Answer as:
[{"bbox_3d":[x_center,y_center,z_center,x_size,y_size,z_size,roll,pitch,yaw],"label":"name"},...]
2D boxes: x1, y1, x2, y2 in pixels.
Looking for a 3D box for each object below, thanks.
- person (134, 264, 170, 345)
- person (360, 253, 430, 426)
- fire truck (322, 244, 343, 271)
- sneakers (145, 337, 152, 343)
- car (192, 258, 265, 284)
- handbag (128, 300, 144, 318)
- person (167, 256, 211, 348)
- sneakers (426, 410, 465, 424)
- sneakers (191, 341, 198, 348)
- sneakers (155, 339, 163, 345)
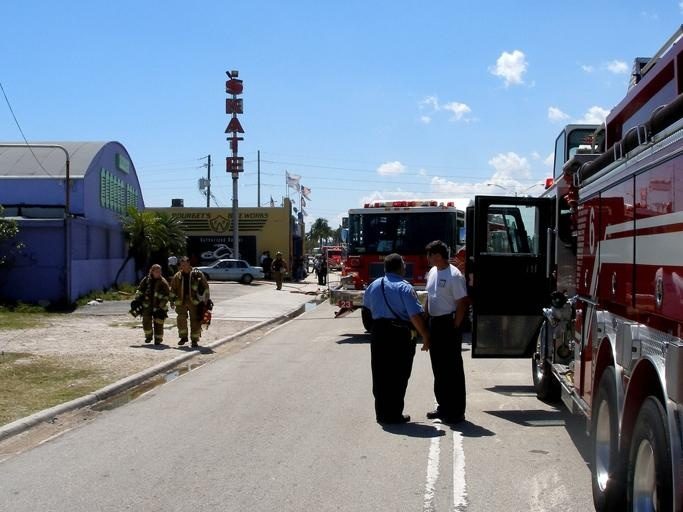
[{"bbox_3d":[-4.723,1.202,14.724,1.077,1.981,0.716,-2,-2,45],"label":"person"},{"bbox_3d":[0.680,1.083,7.693,0.746,2.201,0.354,-1,-1,6],"label":"person"},{"bbox_3d":[-0.885,0.295,64.350,2.042,2.315,3.698,1,8,3],"label":"fire truck"},{"bbox_3d":[-4.822,2.087,14.645,0.150,0.167,0.339,0,-2,-21],"label":"sneakers"},{"bbox_3d":[-7.728,1.077,40.775,4.095,1.573,1.886,5,-2,-2],"label":"car"},{"bbox_3d":[-5.173,1.295,14.791,0.323,0.522,0.138,5,6,32],"label":"handbag"},{"bbox_3d":[-3.725,1.105,14.280,0.835,2.184,0.997,0,-2,-40],"label":"person"},{"bbox_3d":[1.362,2.126,7.789,0.508,0.250,0.187,-5,1,17],"label":"sneakers"},{"bbox_3d":[-3.549,2.144,14.161,0.124,0.140,0.134,-2,-6,-1],"label":"sneakers"},{"bbox_3d":[-4.535,2.127,14.504,0.111,0.095,0.120,0,-7,22],"label":"sneakers"}]
